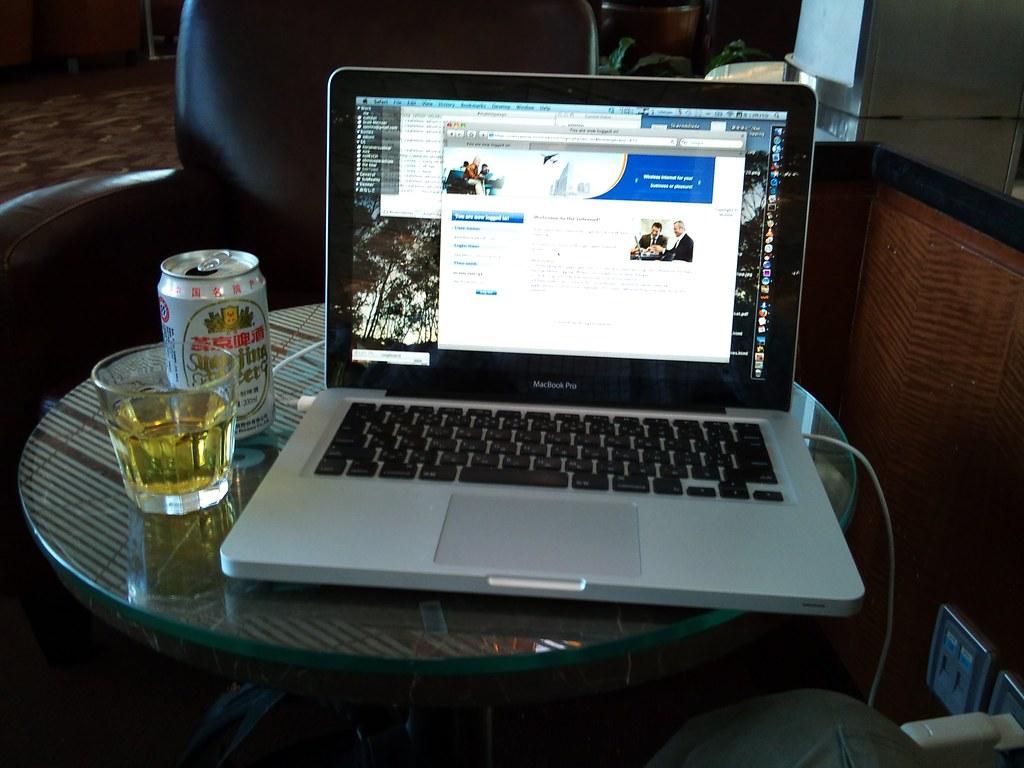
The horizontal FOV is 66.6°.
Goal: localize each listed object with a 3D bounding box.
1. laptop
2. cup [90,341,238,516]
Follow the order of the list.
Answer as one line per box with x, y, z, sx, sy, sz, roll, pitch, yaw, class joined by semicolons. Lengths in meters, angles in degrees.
0.037;-0.085;0.717;0.541;0.379;0.447;6;22;11;laptop
-0.334;0.054;0.761;0.117;0.138;0.122;5;-5;0;cup
